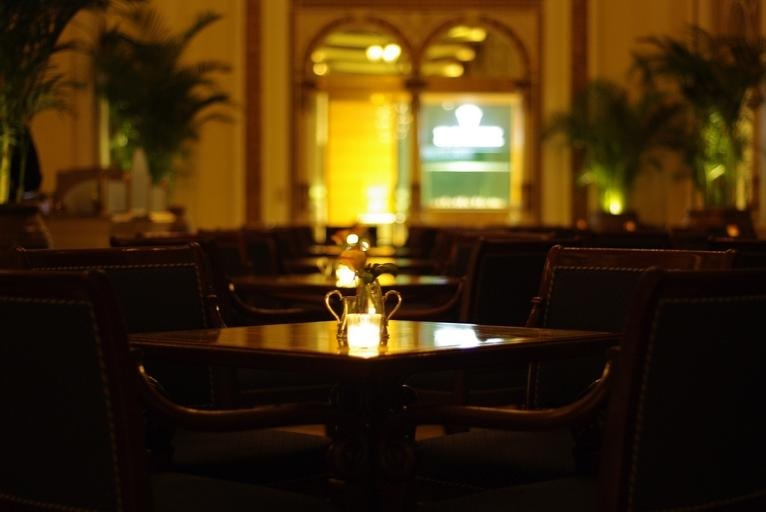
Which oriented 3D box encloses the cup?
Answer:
[{"bbox_3d":[-0.058,0.161,2.061,0.163,0.175,0.347,-2,7,0],"label":"cup"}]
